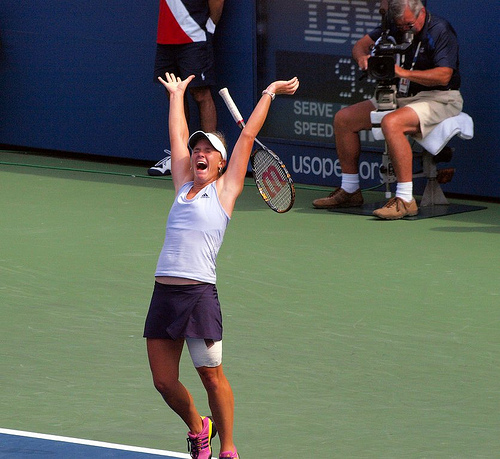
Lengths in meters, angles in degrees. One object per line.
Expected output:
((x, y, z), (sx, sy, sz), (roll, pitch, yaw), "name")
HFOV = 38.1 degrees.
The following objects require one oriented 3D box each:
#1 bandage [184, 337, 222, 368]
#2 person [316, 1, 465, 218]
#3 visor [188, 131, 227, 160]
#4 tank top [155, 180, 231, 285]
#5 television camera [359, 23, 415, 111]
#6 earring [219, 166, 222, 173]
((-0.174, 0.435, 2.593), (0.126, 0.109, 0.061), (3, 12, 6), "bandage")
((1.351, -1.143, 6.951), (1.056, 1.957, 0.910), (-4, 13, -27), "person")
((-0.175, -0.341, 2.892), (0.149, 0.105, 0.185), (1, 11, -5), "visor")
((-0.217, 0.006, 2.722), (0.255, 0.350, 0.246), (2, 12, 0), "tank top")
((1.263, -1.498, 6.649), (0.417, 0.802, 0.681), (9, 13, 30), "television camera")
((-0.123, -0.241, 2.922), (0.013, 0.016, 0.008), (23, -1, -14), "earring")
